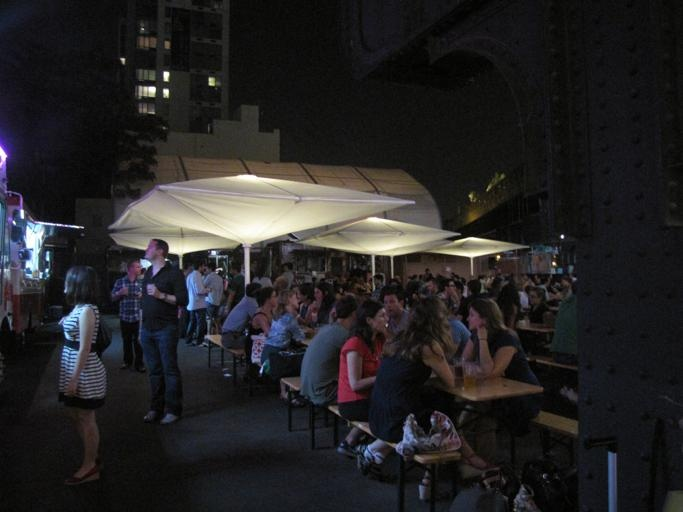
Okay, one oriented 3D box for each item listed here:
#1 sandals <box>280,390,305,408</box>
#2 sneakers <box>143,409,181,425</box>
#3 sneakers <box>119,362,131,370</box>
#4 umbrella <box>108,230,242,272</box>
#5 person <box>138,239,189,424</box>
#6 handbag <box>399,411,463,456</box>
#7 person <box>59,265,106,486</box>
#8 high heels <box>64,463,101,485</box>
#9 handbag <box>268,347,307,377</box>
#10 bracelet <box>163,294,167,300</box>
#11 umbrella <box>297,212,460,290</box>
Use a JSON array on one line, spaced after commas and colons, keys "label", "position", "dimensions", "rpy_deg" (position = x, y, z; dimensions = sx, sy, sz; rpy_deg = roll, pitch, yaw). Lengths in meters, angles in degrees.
[{"label": "sandals", "position": [-0.622, 1.994, 8.192], "dimensions": [0.226, 0.287, 0.638], "rpy_deg": [2, -11, -33]}, {"label": "sneakers", "position": [-2.297, 2.063, 7.440], "dimensions": [0.452, 0.207, 0.176], "rpy_deg": [11, -9, -2]}, {"label": "sneakers", "position": [-4.168, 2.110, 11.105], "dimensions": [0.263, 0.119, 0.091], "rpy_deg": [6, -6, -5]}, {"label": "umbrella", "position": [-4.345, -0.437, 16.016], "dimensions": [3.219, 1.199, 3.774], "rpy_deg": [1, 3, -22]}, {"label": "person", "position": [-2.309, 0.961, 7.566], "dimensions": [0.616, 2.298, 0.727], "rpy_deg": [4, -1, -19]}, {"label": "handbag", "position": [0.773, 1.475, 4.960], "dimensions": [0.730, 0.338, 0.252], "rpy_deg": [7, 4, -42]}, {"label": "person", "position": [-2.441, 1.101, 5.501], "dimensions": [0.408, 2.108, 0.491], "rpy_deg": [5, -2, -33]}, {"label": "high heels", "position": [-2.430, 2.046, 5.482], "dimensions": [0.329, 0.138, 0.110], "rpy_deg": [8, -11, -41]}, {"label": "handbag", "position": [-0.767, 1.484, 8.162], "dimensions": [0.480, 0.222, 0.384], "rpy_deg": [0, 2, -22]}, {"label": "bracelet", "position": [-2.207, 0.519, 7.297], "dimensions": [0.042, 0.068, 0.059], "rpy_deg": [2, -41, -27]}, {"label": "umbrella", "position": [0.996, -0.103, 17.622], "dimensions": [3.204, 2.257, 3.294], "rpy_deg": [-1, -5, 13]}]
